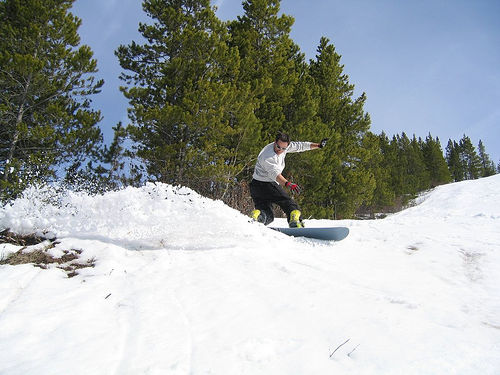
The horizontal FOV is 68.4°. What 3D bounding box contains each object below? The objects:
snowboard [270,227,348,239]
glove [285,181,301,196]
[{"bbox_3d":[1.098,0.788,6.312,1.134,0.210,0.262,0,-8,11],"label":"snowboard"},{"bbox_3d":[0.761,0.033,6.651,0.242,0.264,0.674,0,-9,7],"label":"glove"}]
